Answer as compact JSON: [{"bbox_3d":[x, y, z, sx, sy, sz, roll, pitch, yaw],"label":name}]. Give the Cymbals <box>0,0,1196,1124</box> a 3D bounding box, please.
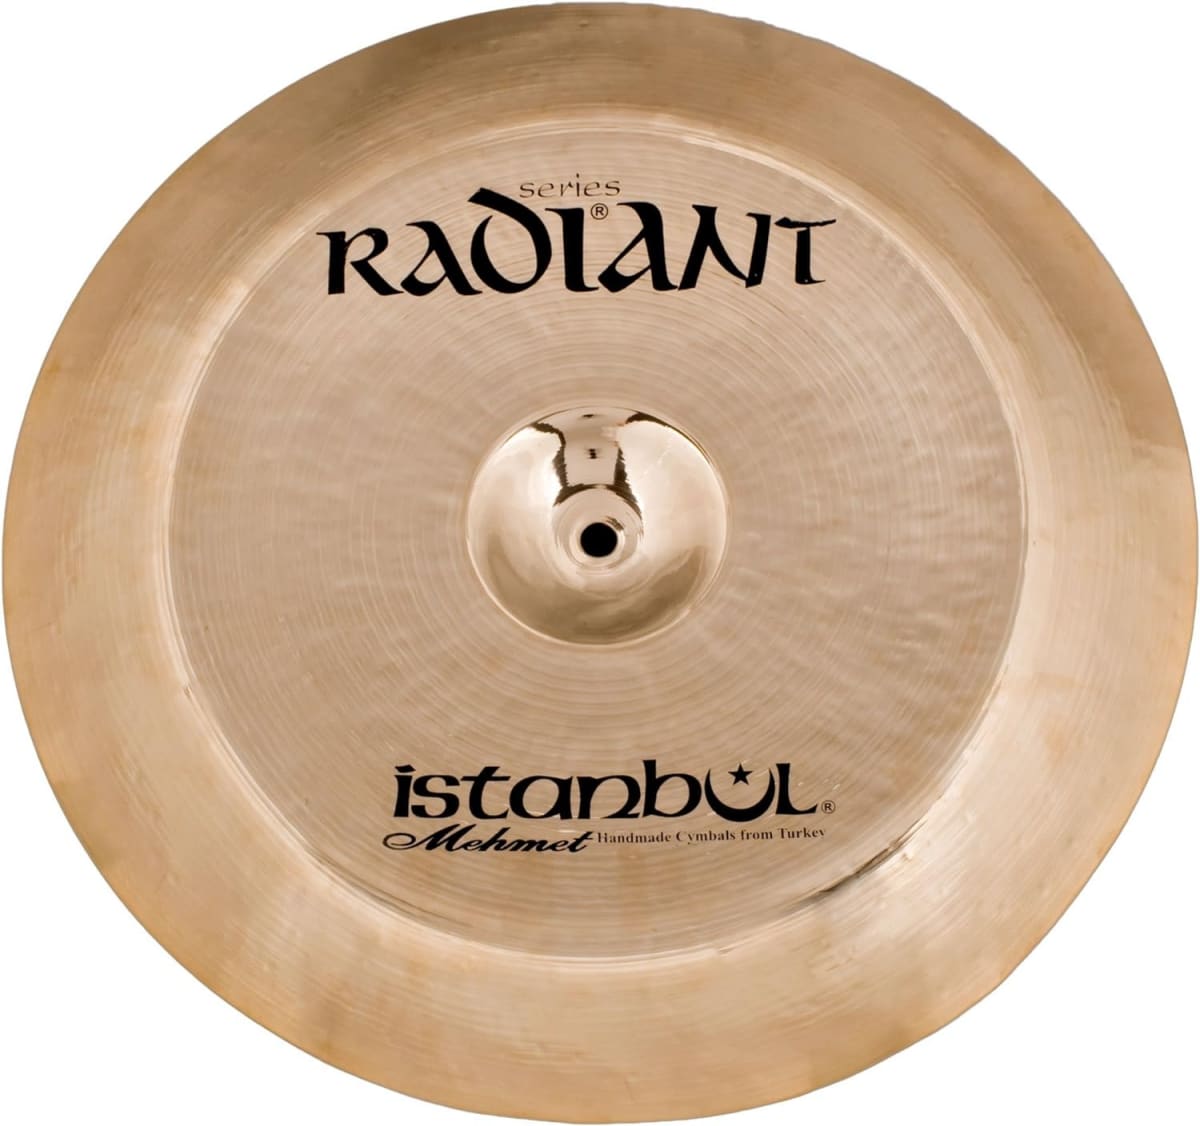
[{"bbox_3d":[0.002,-0.007,1.641,1.266,0.176,1.196,12,-84,-2],"label":"Cymbals"}]
